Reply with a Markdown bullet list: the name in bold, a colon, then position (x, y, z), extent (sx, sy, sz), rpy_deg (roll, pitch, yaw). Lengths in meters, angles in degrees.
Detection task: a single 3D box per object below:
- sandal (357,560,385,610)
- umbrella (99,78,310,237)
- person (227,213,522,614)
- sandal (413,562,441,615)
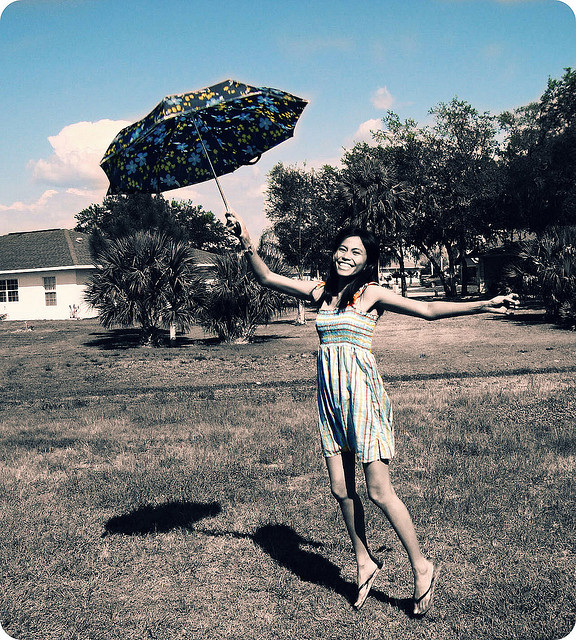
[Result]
- **sandal**: position (0.468, 1.491, 3.740), extent (0.056, 0.292, 0.094), rpy_deg (23, -10, -2)
- **umbrella**: position (-0.586, -1.224, 4.571), extent (1.367, 0.636, 0.839), rpy_deg (-2, 3, -14)
- **person**: position (0.443, 0.527, 3.811), extent (0.499, 2.107, 1.319), rpy_deg (-4, 4, -45)
- **sandal**: position (0.758, 1.521, 3.630), extent (0.071, 0.364, 0.114), rpy_deg (7, 3, -12)
